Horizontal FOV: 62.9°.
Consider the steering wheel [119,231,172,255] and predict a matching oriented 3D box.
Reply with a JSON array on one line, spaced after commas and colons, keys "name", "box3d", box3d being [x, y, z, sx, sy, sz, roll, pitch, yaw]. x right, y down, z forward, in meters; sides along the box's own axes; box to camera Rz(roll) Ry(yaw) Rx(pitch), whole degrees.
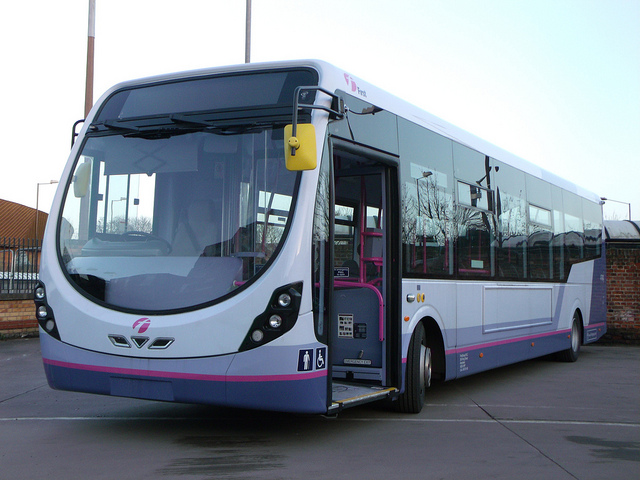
[{"name": "steering wheel", "box3d": [-1.867, 0.020, 5.618, 0.675, 0.249, 0.048, -1, -5, 18]}]
